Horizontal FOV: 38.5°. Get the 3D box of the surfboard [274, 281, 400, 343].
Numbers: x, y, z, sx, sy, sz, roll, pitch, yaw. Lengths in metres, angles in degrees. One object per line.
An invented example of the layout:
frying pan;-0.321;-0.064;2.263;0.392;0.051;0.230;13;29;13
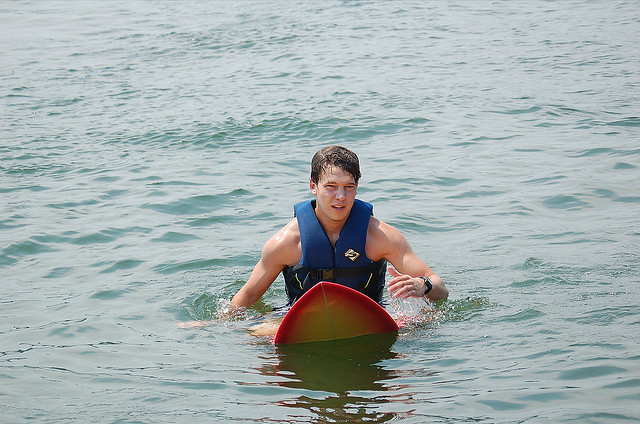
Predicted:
surfboard;0.387;1.591;14.289;3.065;0.744;1.191;-1;-7;2
